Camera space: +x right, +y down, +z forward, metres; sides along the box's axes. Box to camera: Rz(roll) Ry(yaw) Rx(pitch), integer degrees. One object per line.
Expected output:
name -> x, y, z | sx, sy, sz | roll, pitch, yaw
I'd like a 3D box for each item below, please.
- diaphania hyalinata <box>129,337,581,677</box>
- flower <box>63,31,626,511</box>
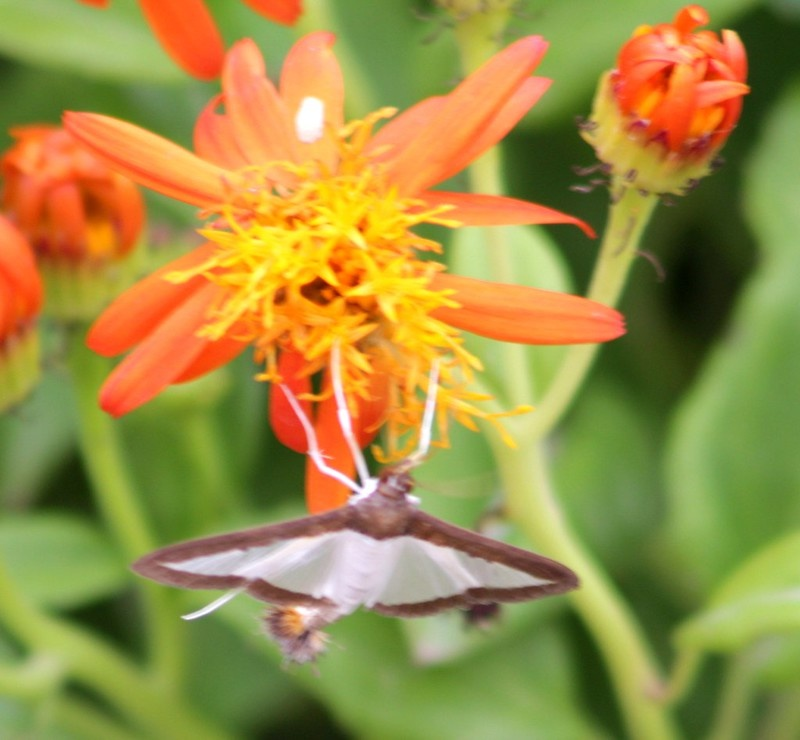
diaphania hyalinata -> -0.021, 0.064, 0.424 | 0.197, 0.110, 0.069 | 6, -16, -19
flower -> -0.033, -0.042, 0.469 | 0.298, 0.213, 0.109 | -2, 5, -9
